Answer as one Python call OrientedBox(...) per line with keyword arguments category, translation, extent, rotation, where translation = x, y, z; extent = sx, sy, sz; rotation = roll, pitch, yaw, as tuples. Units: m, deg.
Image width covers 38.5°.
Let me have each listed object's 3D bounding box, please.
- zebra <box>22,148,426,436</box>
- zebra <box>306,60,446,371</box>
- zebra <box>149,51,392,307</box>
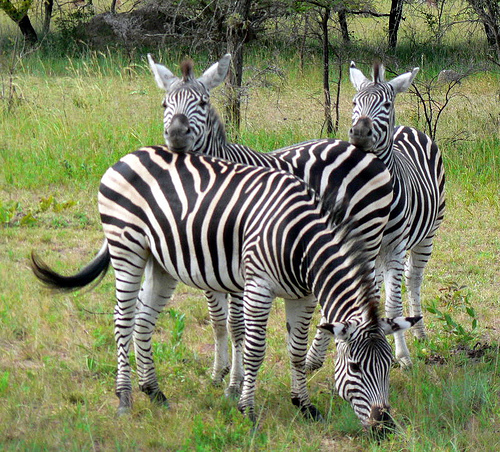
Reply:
OrientedBox(category="zebra", translation=(-0.287, 0.532, 5.537), extent=(2.677, 2.105, 0.793), rotation=(10, 9, 10))
OrientedBox(category="zebra", translation=(1.168, -0.055, 6.226), extent=(0.631, 2.367, 2.435), rotation=(0, -1, 18))
OrientedBox(category="zebra", translation=(0.206, -0.135, 5.706), extent=(2.095, 2.131, 0.684), rotation=(4, -9, -37))
